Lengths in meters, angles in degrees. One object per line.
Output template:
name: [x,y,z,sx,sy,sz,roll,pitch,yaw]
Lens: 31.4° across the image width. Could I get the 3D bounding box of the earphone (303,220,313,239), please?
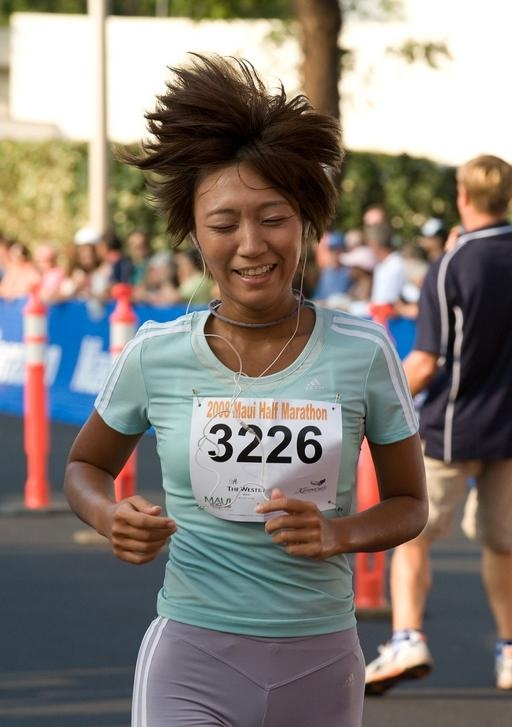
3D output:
earphone: [0.109,-0.279,1.935,0.019,0.023,0.007,-2,38,-6]
